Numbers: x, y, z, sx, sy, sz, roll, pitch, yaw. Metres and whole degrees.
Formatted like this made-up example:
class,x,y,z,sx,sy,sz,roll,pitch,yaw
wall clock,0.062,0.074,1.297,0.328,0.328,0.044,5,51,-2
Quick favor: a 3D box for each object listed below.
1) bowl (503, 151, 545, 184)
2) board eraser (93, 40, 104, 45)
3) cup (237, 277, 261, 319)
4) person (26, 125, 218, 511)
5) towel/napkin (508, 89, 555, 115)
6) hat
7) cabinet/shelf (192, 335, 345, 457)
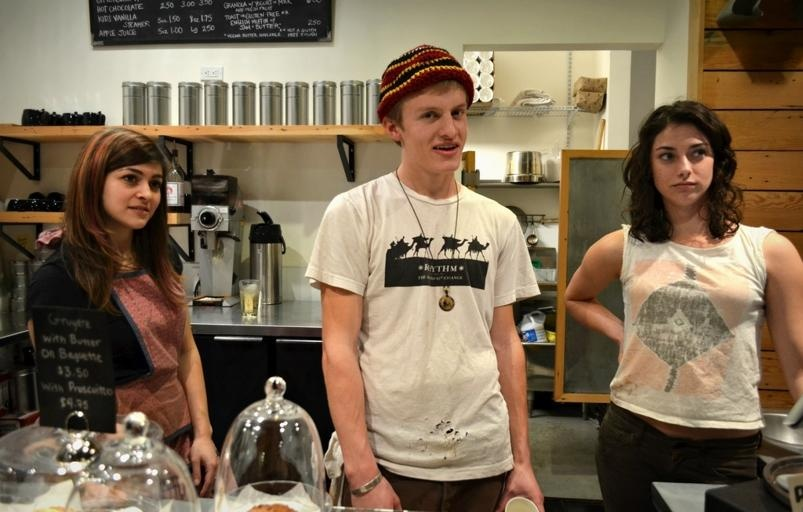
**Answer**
class,x,y,z,sx,sy,sz,roll,pitch,yaw
bowl,1.099,-0.777,5.873,0.362,0.258,0.352,0,3,0
board eraser,-2.172,-1.514,4.685,0.055,0.035,0.023,-2,4,-2
cup,-0.984,0.277,4.265,0.118,0.221,0.169,-2,4,-17
person,-1.242,0.123,2.819,0.609,1.325,0.230,-3,5,-30
towel/napkin,1.164,-1.355,5.832,0.263,0.117,0.332,0,5,1
hat,0.085,-0.692,2.691,0.304,0.194,0.297,-17,-8,31
cabinet/shelf,-0.800,0.830,4.270,0.789,0.728,0.542,2,-2,-3
